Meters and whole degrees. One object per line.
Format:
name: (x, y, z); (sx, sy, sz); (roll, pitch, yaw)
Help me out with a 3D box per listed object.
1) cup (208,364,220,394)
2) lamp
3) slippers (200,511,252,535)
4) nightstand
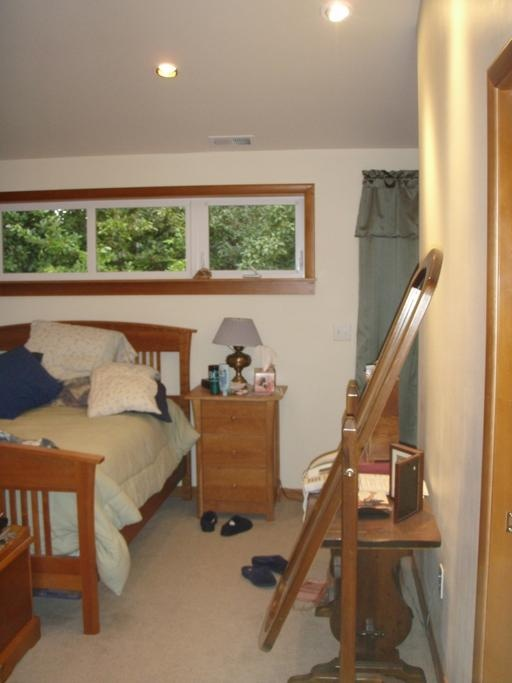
cup: (-0.249, 0.222, 3.475); (0.069, 0.148, 0.220); (0, 4, -4)
lamp: (-0.105, 0.063, 3.504); (0.374, 0.527, 0.386); (3, 4, 23)
slippers: (-0.165, 0.965, 3.110); (0.174, 0.080, 0.119); (-1, -2, -5)
nightstand: (-0.124, 0.586, 3.487); (0.564, 0.722, 0.503); (1, 17, 6)
